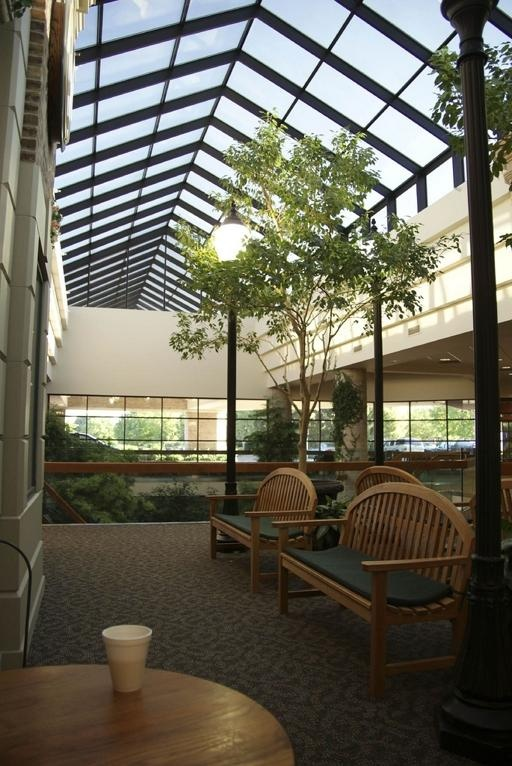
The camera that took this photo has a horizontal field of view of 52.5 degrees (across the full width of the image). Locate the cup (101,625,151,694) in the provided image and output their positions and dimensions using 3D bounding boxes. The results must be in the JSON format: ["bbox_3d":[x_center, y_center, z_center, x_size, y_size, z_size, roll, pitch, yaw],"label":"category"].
[{"bbox_3d":[-0.258,0.550,1.044,0.097,0.110,0.099,-1,-7,0],"label":"cup"}]

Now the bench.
[{"bbox_3d":[0.771,1.075,3.113,0.918,0.959,1.433,4,-12,-13],"label":"bench"}]
